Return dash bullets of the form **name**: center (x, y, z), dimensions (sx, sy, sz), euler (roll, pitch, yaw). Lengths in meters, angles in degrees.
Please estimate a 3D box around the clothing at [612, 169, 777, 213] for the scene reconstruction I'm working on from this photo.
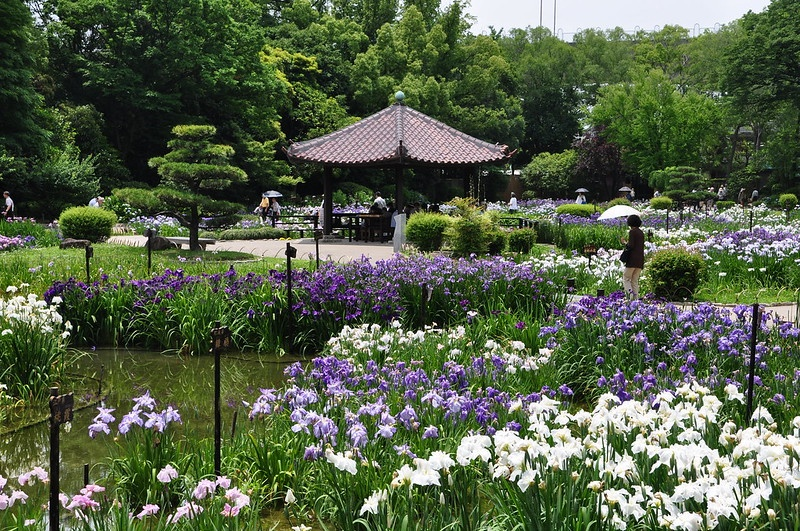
- **clothing**: center (16.519, -4.119, 49.871), dimensions (8.921, 2.755, 4.866), euler (-4, 14, 1)
